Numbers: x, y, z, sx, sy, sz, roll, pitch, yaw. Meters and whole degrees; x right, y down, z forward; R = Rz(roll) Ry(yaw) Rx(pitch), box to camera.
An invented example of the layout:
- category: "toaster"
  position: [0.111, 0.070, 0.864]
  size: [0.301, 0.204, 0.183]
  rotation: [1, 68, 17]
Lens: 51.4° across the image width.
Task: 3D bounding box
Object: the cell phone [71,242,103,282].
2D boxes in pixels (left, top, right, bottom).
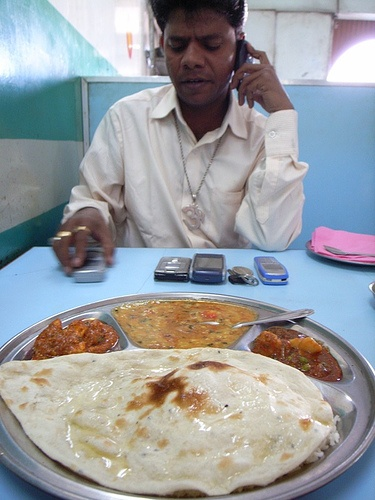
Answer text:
- category: "cell phone"
  position: [-0.309, 0.026, 1.239]
  size: [0.103, 0.044, 0.213]
  rotation: [1, 29, -9]

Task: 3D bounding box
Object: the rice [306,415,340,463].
- category: "rice"
  position: [0.173, 0.243, 0.495]
  size: [0.031, 0.042, 0.011]
  rotation: [26, 25, -20]

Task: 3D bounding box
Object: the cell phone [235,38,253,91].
- category: "cell phone"
  position: [0.265, -0.944, 1.899]
  size: [0.042, 0.138, 0.099]
  rotation: [1, 60, -12]

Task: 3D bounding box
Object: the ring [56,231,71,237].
- category: "ring"
  position: [-0.437, -0.056, 1.369]
  size: [0.032, 0.008, 0.033]
  rotation: [2, 11, 0]

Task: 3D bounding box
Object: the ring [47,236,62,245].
- category: "ring"
  position: [-0.465, -0.036, 1.356]
  size: [0.036, 0.008, 0.035]
  rotation: [-19, 20, 7]
